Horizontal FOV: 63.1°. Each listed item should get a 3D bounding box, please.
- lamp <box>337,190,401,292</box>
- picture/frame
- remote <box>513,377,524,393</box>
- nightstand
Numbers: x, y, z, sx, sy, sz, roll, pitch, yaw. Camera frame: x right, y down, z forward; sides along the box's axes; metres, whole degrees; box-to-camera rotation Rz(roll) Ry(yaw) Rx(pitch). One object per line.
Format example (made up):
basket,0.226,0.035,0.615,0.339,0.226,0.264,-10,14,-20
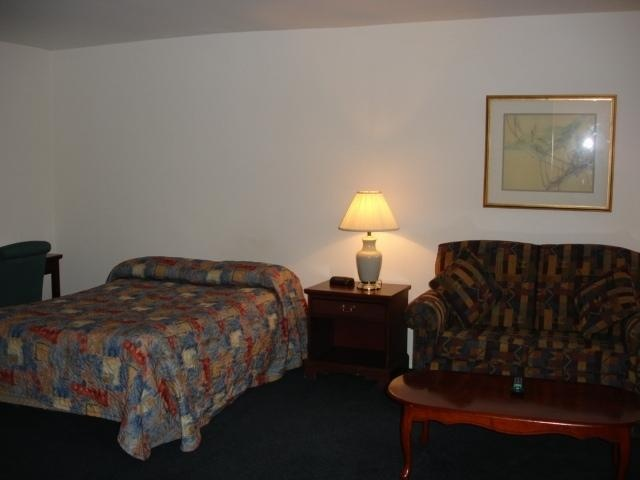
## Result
lamp,0.436,0.002,4.440,0.496,0.824,0.320,-5,11,-30
picture/frame,1.960,-0.746,4.327,0.891,0.871,0.040,2,5,13
remote,1.208,0.874,3.159,0.054,0.075,0.105,-2,5,23
nightstand,0.304,0.706,4.606,0.965,1.060,0.731,1,2,27
